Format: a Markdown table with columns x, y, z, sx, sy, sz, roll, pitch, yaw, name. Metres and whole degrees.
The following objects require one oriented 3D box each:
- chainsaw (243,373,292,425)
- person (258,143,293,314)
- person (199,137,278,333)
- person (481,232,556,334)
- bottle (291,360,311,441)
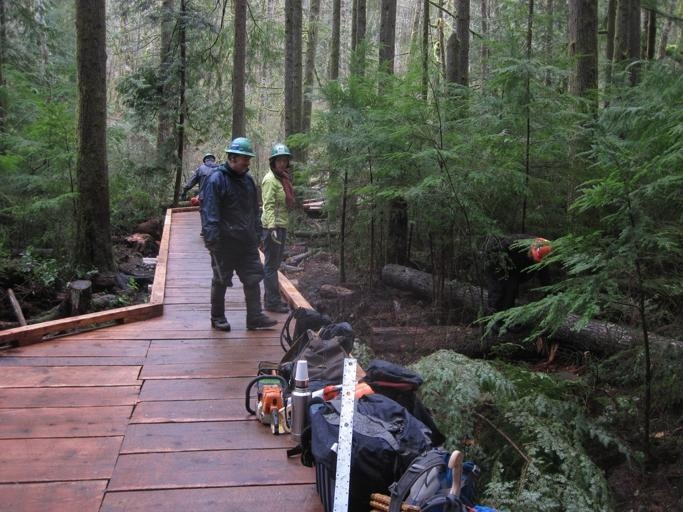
| x | y | z | sx | sy | sz | roll | pitch | yaw | name |
| --- | --- | --- | --- | --- | --- | --- | --- | --- | --- |
| -0.730 | 1.372 | 5.389 | 0.261 | 0.321 | 0.703 | 4 | 10 | -11 | chainsaw |
| -0.982 | -0.410 | 8.536 | 0.601 | 2.497 | 0.842 | 0 | 6 | 4 | person |
| -1.339 | -0.225 | 7.178 | 0.832 | 2.474 | 0.582 | -2 | 9 | -16 | person |
| 2.335 | 0.260 | 7.364 | 0.785 | 1.257 | 1.013 | -10 | 26 | -31 | person |
| -0.345 | 1.244 | 4.787 | 0.170 | 0.716 | 0.306 | 0 | 8 | -4 | bottle |
